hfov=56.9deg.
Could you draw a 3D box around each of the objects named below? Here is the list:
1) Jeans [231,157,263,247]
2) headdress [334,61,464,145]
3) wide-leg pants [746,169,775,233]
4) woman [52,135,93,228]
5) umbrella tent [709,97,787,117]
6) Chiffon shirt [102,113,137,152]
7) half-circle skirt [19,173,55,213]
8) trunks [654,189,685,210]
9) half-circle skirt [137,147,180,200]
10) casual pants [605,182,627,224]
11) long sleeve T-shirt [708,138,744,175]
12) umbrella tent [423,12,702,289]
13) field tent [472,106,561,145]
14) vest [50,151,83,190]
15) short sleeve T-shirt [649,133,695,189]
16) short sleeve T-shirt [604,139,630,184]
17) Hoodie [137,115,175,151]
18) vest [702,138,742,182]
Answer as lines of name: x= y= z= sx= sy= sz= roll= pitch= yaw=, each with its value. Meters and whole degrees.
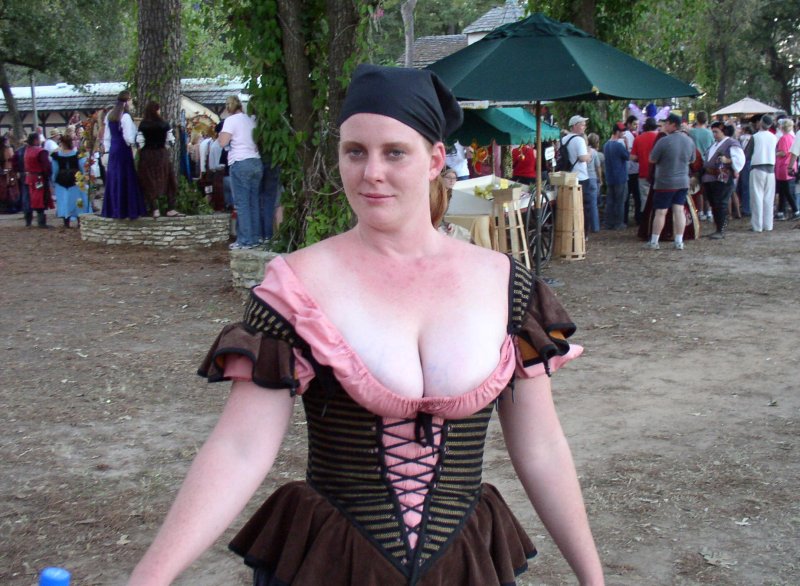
Jeans: x=-2.080 y=-1.285 z=9.985 sx=0.403 sy=1.203 sz=0.498 roll=7 pitch=13 yaw=24
headdress: x=-0.001 y=-0.499 z=2.135 sx=0.219 sy=0.183 sz=0.315 roll=4 pitch=-2 yaw=39
wide-leg pants: x=6.697 y=-1.778 z=13.737 sx=0.466 sy=1.184 sz=0.360 roll=3 pitch=-5 yaw=1
woman: x=-7.021 y=-2.307 z=15.789 sx=0.829 sy=2.177 sz=0.697 roll=-9 pitch=-12 yaw=-11
umbrella tent: x=12.134 y=-6.469 z=25.702 sx=2.736 sy=0.699 sz=2.785 roll=-6 pitch=13 yaw=-23
Chiffon shirt: x=-4.636 y=-2.665 z=12.202 sx=0.672 sy=0.676 sz=0.311 roll=1 pitch=20 yaw=4
half-circle skirt: x=-7.904 y=-2.209 z=16.056 sx=0.554 sy=0.850 sz=1.135 roll=-4 pitch=5 yaw=-27
trunks: x=4.342 y=-1.548 z=11.933 sx=0.509 sy=0.416 sz=0.302 roll=-2 pitch=2 yaw=-27
half-circle skirt: x=-4.226 y=-2.087 z=12.753 sx=0.671 sy=0.891 sz=0.499 roll=-6 pitch=35 yaw=-9
casual pants: x=4.232 y=-1.868 z=14.535 sx=0.358 sy=1.080 sz=0.327 roll=1 pitch=18 yaw=25
long sleeve T-shirt: x=5.690 y=-2.398 z=12.935 sx=0.324 sy=0.555 sz=0.612 roll=-11 pitch=20 yaw=-19
umbrella tent: x=1.420 y=-1.841 z=7.887 sx=2.762 sy=2.141 sz=2.693 roll=7 pitch=1 yaw=-2
field tent: x=1.788 y=-2.820 z=12.283 sx=1.749 sy=0.583 sz=1.335 roll=-13 pitch=21 yaw=-37
vest: x=-6.934 y=-2.530 z=15.439 sx=0.758 sy=0.918 sz=0.460 roll=-5 pitch=-3 yaw=-9
short sleeve T-shirt: x=4.290 y=-2.102 z=11.704 sx=0.773 sy=0.879 sz=0.482 roll=-2 pitch=11 yaw=-10
short sleeve T-shirt: x=4.054 y=-2.508 z=13.867 sx=0.381 sy=0.763 sz=0.509 roll=-16 pitch=21 yaw=-22
Hoodie: x=-4.078 y=-2.675 z=12.463 sx=0.723 sy=0.704 sz=0.419 roll=-3 pitch=50 yaw=-17
vest: x=5.680 y=-2.369 z=13.075 sx=0.459 sy=0.866 sz=0.888 roll=-4 pitch=7 yaw=-18
